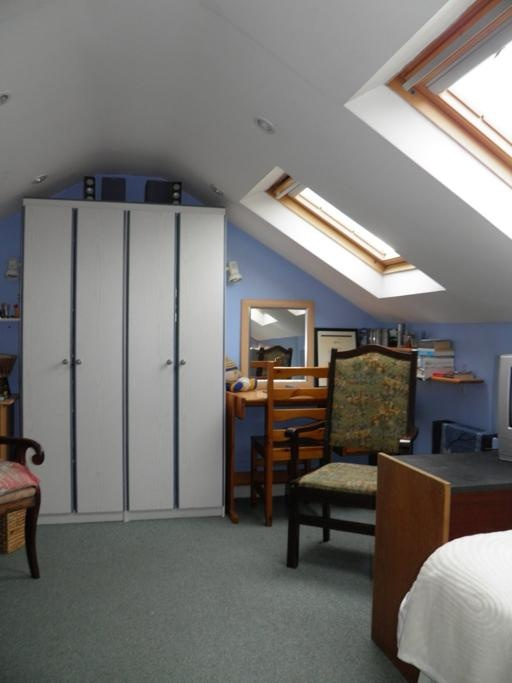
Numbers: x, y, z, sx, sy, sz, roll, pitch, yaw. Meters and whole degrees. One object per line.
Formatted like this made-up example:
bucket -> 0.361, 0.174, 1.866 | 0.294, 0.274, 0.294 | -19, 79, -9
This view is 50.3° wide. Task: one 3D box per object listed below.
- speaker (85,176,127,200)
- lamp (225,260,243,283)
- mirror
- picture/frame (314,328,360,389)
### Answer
speaker -> -1.011, -1.003, 3.629 | 0.243, 0.183, 0.334 | 1, 0, -22
lamp -> -0.166, -0.540, 4.151 | 0.120, 0.157, 0.189 | 1, 0, -3
mirror -> 0.141, 0.008, 4.172 | 0.665, 0.792, 0.060 | 1, -5, -14
picture/frame -> 0.535, 0.116, 3.732 | 0.415, 0.513, 0.070 | 3, -12, -12
